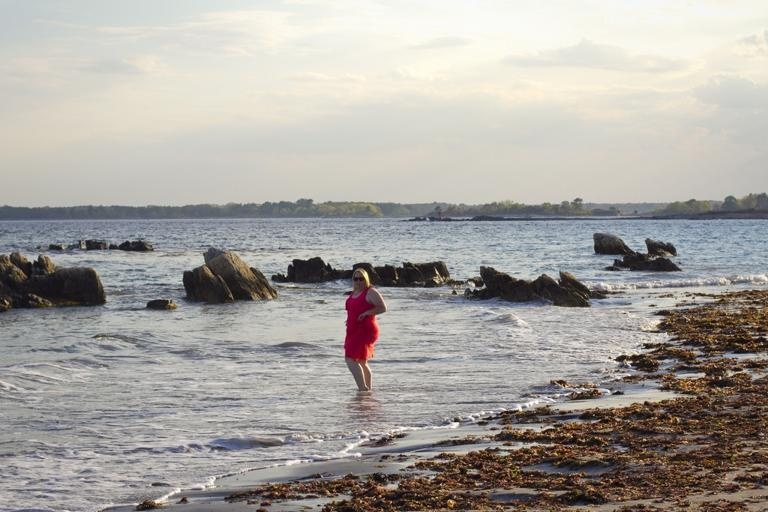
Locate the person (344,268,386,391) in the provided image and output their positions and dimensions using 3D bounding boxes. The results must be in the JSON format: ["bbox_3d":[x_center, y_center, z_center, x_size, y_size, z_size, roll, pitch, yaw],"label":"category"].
[{"bbox_3d":[-0.595,2.103,43.188,1.108,3.588,0.576,-3,12,-1],"label":"person"}]
